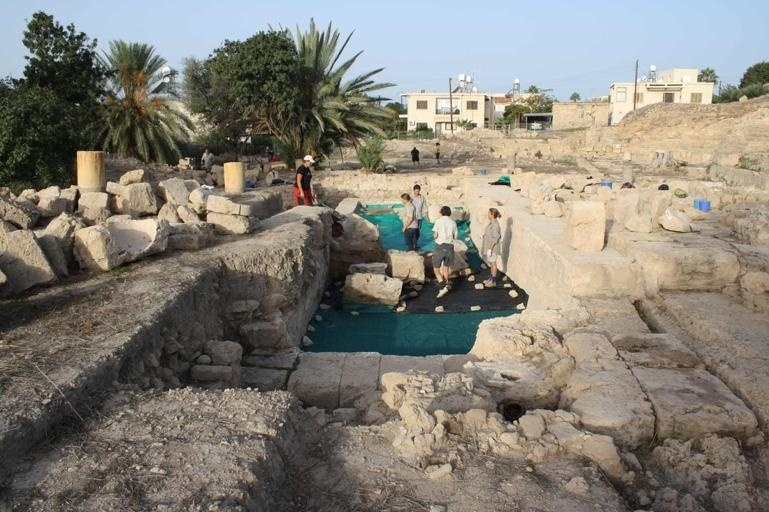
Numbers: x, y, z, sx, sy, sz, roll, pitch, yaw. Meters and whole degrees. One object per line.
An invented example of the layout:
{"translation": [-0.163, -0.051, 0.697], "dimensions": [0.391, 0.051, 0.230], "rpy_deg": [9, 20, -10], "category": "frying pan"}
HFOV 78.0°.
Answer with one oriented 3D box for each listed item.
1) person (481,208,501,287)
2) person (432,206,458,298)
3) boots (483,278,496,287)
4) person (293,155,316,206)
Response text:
{"translation": [2.143, -0.253, 9.513], "dimensions": [0.352, 1.555, 1.077], "rpy_deg": [2, 16, 14], "category": "person"}
{"translation": [1.153, -0.130, 9.186], "dimensions": [0.423, 1.650, 0.957], "rpy_deg": [0, 16, 6], "category": "person"}
{"translation": [2.074, 0.546, 9.337], "dimensions": [0.198, 0.071, 0.149], "rpy_deg": [-5, 27, -19], "category": "boots"}
{"translation": [-2.046, -1.942, 12.098], "dimensions": [0.496, 1.191, 2.391], "rpy_deg": [-4, 15, -8], "category": "person"}
